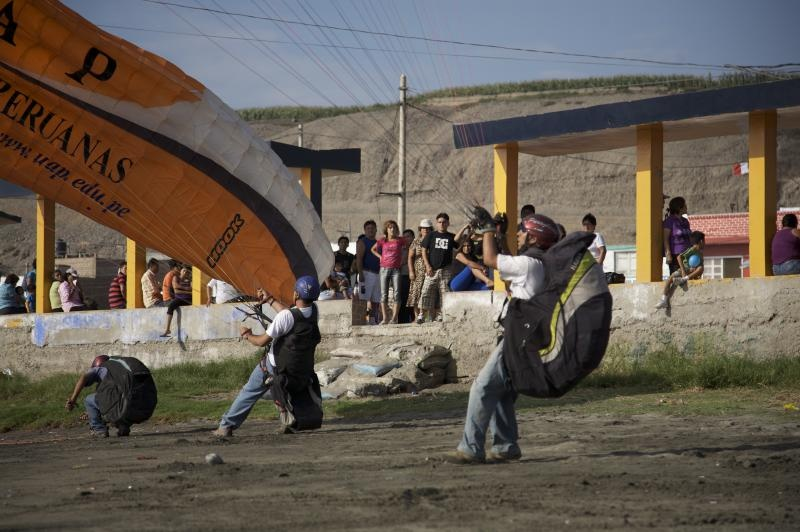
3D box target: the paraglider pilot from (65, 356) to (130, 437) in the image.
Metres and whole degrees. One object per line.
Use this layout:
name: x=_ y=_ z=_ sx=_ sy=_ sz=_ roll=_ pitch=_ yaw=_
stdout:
paraglider pilot: x=-5.180 y=2.244 z=19.731 sx=1.026 sy=1.450 sz=1.071 roll=11 pitch=-17 yaw=-35

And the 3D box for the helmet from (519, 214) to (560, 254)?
helmet: x=2.066 y=-0.519 z=16.705 sx=0.564 sy=0.534 sz=0.433 roll=-1 pitch=22 yaw=-15

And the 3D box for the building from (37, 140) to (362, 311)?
building: x=-4.308 y=-1.380 z=30.436 sx=4.986 sy=4.993 sz=5.165 roll=-2 pitch=-2 yaw=32

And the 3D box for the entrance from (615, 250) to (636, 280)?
entrance: x=7.442 y=-0.040 z=37.993 sx=0.966 sy=1.154 sz=0.078 roll=1 pitch=1 yaw=21

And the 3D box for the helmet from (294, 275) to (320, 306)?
helmet: x=-1.551 y=0.340 z=18.486 sx=0.366 sy=0.486 sz=0.463 roll=2 pitch=38 yaw=-19

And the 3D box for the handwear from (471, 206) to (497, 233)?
handwear: x=1.232 y=-0.721 z=16.652 sx=0.135 sy=0.398 sz=0.287 roll=-26 pitch=-3 yaw=-38

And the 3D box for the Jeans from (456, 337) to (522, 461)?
Jeans: x=1.252 y=1.932 z=16.569 sx=0.876 sy=1.741 sz=0.417 roll=-2 pitch=6 yaw=5

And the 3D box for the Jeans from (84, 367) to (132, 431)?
Jeans: x=-5.072 y=2.302 z=19.496 sx=0.761 sy=1.188 sz=0.361 roll=0 pitch=6 yaw=19

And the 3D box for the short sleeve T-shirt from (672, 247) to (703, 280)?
short sleeve T-shirt: x=5.409 y=-0.035 z=21.486 sx=0.466 sy=0.224 sz=0.554 roll=1 pitch=-41 yaw=-11

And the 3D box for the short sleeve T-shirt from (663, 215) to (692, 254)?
short sleeve T-shirt: x=5.239 y=-0.583 z=21.785 sx=0.691 sy=0.814 sz=0.427 roll=0 pitch=-7 yaw=-41

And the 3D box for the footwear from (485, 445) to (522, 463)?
footwear: x=1.490 y=2.762 z=16.747 sx=0.527 sy=0.230 sz=0.194 roll=1 pitch=-1 yaw=1

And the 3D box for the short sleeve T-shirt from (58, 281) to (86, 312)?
short sleeve T-shirt: x=-8.059 y=0.708 z=27.692 sx=0.651 sy=0.873 sz=0.718 roll=-7 pitch=-1 yaw=-10

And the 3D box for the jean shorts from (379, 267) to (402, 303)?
jean shorts: x=-0.228 y=0.403 z=24.062 sx=0.441 sy=0.768 sz=0.349 roll=-2 pitch=6 yaw=6

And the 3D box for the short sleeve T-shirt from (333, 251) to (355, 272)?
short sleeve T-shirt: x=-1.322 y=-0.087 z=25.852 sx=0.463 sy=0.513 sz=0.260 roll=2 pitch=1 yaw=-26

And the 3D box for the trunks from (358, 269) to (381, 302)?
trunks: x=-0.724 y=0.414 z=25.114 sx=0.452 sy=0.846 sz=0.641 roll=-5 pitch=-8 yaw=41

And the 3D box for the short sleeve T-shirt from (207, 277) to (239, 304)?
short sleeve T-shirt: x=-3.794 y=0.518 z=24.418 sx=0.228 sy=0.252 sz=0.699 roll=-48 pitch=-6 yaw=18

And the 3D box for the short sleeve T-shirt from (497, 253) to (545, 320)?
short sleeve T-shirt: x=1.731 y=0.283 z=16.371 sx=0.840 sy=0.866 sz=0.493 roll=15 pitch=10 yaw=15

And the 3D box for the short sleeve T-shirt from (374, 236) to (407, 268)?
short sleeve T-shirt: x=-0.251 y=-0.310 z=24.262 sx=0.667 sy=0.624 sz=1.025 roll=-3 pitch=7 yaw=-3
